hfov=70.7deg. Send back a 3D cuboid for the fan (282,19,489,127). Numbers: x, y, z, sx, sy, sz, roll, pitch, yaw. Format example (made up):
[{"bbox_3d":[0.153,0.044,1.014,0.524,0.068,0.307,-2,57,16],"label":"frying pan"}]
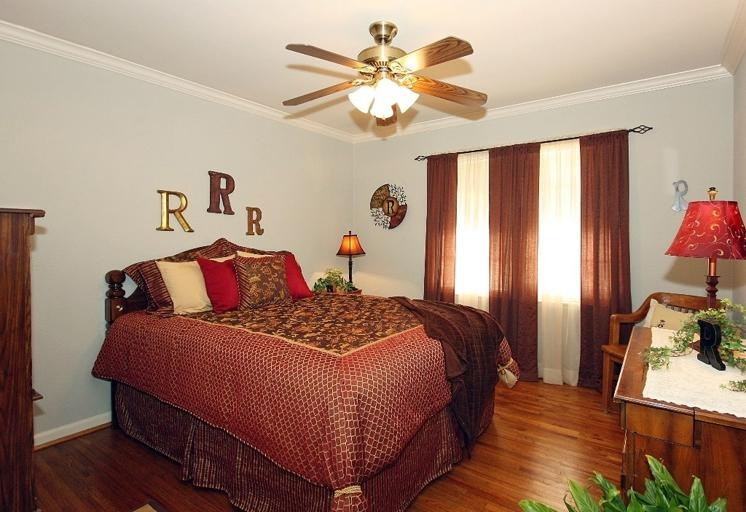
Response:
[{"bbox_3d":[0.172,-1.387,3.990,1.018,0.419,1.052,0,-9,-4],"label":"fan"}]

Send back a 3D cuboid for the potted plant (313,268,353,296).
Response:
[{"bbox_3d":[-0.504,0.312,6.409,0.327,0.248,0.360,3,2,23],"label":"potted plant"}]

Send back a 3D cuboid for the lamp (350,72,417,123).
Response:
[{"bbox_3d":[0.076,-1.246,4.096,0.429,0.278,0.413,-10,15,-37],"label":"lamp"}]
